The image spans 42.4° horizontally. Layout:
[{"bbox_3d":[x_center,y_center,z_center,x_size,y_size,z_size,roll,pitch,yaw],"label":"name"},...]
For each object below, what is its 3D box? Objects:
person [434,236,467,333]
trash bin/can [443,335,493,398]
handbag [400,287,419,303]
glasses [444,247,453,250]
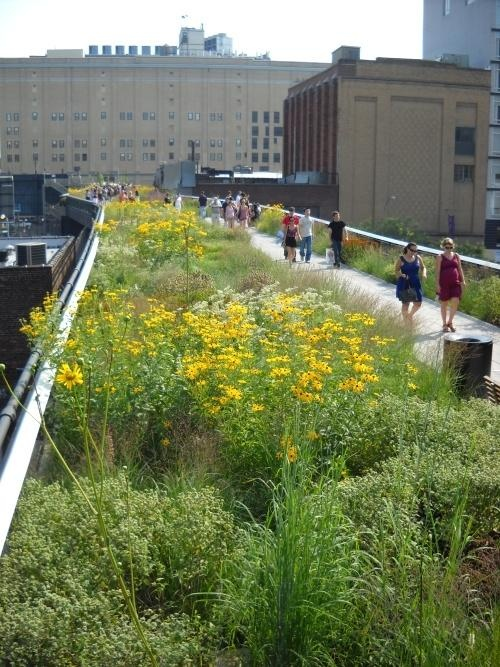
[{"bbox_3d":[3.808,-0.997,12.422,0.476,1.704,2.380,3,9,18],"label":"person"},{"bbox_3d":[2.579,0.339,7.776,0.521,0.886,0.658,1,12,9],"label":"trash bin/can"},{"bbox_3d":[2.882,-0.728,11.837,0.165,0.264,0.085,-1,13,3],"label":"handbag"},{"bbox_3d":[3.494,-1.527,11.453,0.189,0.064,0.097,-8,13,-41],"label":"glasses"}]
